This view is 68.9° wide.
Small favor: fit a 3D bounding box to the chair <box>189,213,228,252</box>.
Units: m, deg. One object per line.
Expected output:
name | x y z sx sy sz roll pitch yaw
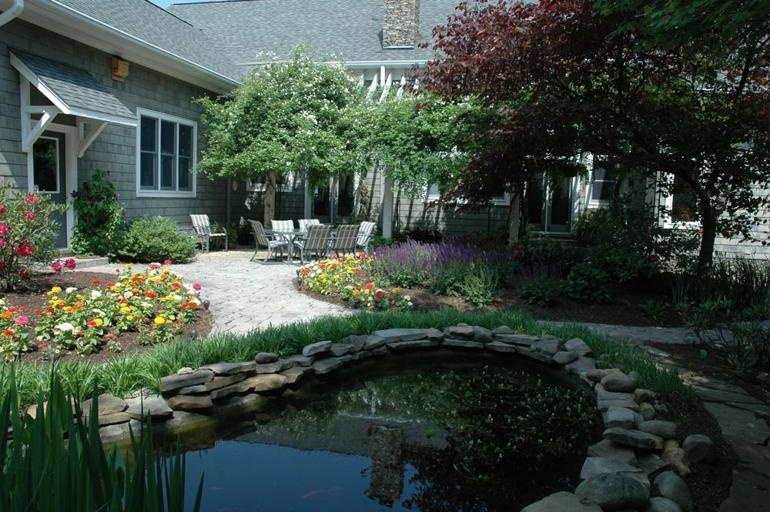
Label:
chair | -4.437 -0.586 14.041 0.923 0.847 0.827 2 9 -8
